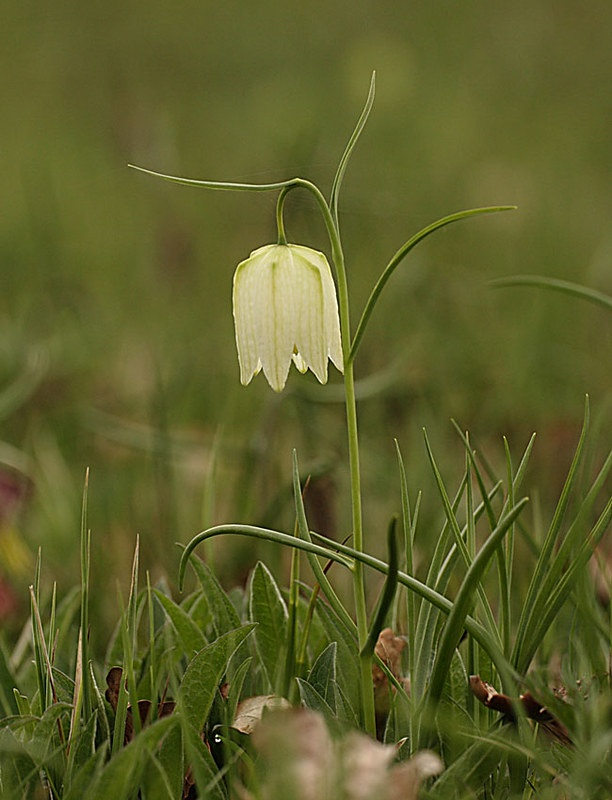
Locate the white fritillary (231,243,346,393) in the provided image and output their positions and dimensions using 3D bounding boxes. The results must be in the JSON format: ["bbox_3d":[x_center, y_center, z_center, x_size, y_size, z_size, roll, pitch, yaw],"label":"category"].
[{"bbox_3d":[-0.002,-0.048,0.567,0.053,0.103,0.064,-1,7,27],"label":"white fritillary"}]
